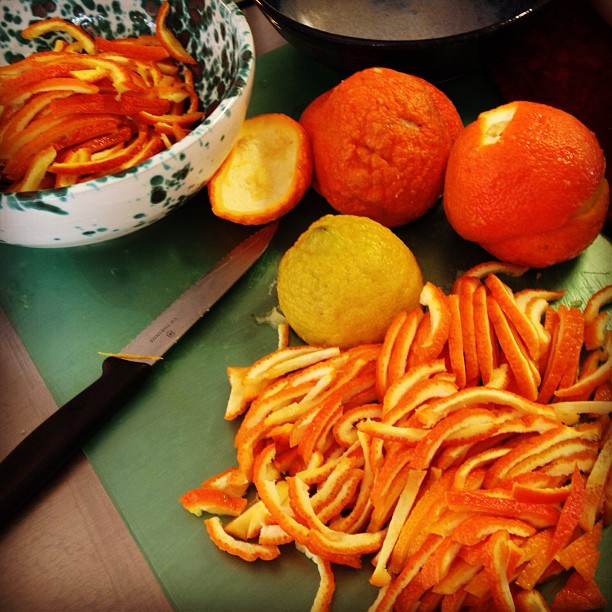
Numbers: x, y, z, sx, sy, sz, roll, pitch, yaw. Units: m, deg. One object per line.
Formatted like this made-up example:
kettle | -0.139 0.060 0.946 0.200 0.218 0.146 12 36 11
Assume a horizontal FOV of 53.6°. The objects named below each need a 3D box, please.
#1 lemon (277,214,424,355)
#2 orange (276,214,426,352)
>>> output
lemon | 0.048 -0.027 0.712 0.146 0.123 0.148 39 67 19
orange | 0.048 -0.026 0.766 0.190 0.159 0.167 -17 20 2
